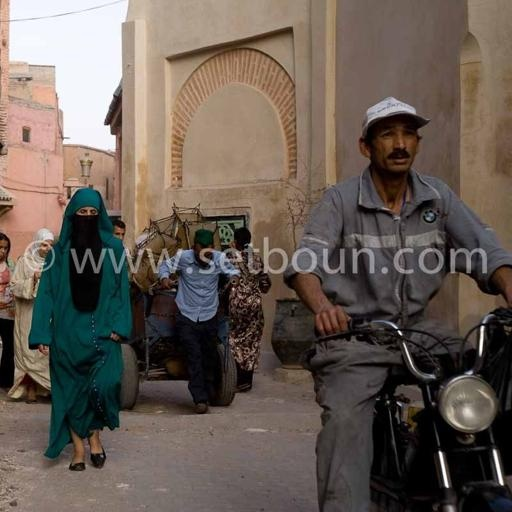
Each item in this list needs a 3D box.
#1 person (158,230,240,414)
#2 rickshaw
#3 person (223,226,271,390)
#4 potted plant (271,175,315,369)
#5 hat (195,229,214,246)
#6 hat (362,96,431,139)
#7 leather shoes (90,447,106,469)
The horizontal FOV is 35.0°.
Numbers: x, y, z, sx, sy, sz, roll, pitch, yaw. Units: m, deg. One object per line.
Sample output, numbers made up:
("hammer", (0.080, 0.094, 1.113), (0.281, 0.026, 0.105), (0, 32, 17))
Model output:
("person", (-0.571, 0.616, 7.933), (0.578, 1.737, 0.638), (2, 2, 31))
("rickshaw", (-0.851, 0.872, 8.241), (0.798, 1.079, 1.245), (0, 0, -18))
("person", (-0.146, 0.612, 9.235), (0.499, 1.781, 0.585), (2, 8, -15))
("potted plant", (0.508, 0.303, 10.198), (0.539, 2.183, 0.900), (3, -7, -1))
("hat", (-0.497, -0.169, 7.770), (0.167, 0.159, 0.241), (1, 2, 4))
("hat", (0.561, -0.567, 3.304), (0.260, 0.185, 0.317), (2, 2, 8))
("leather shoes", (-1.053, 1.352, 5.414), (0.086, 0.090, 0.273), (-2, 4, -14))
